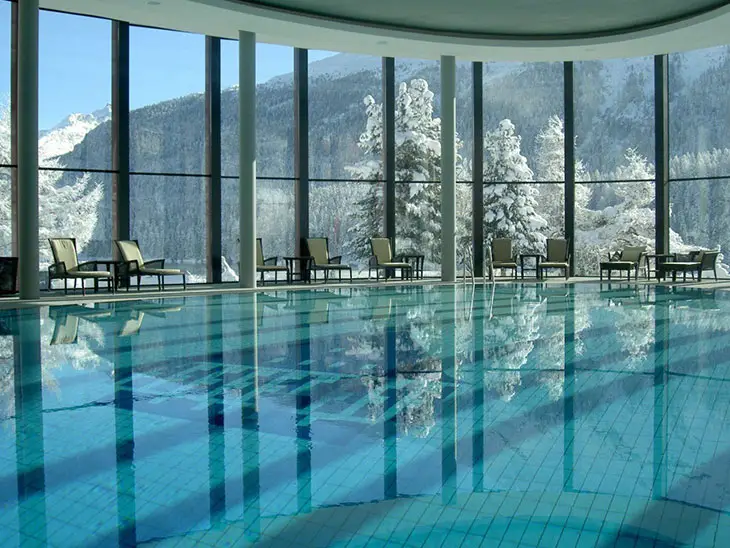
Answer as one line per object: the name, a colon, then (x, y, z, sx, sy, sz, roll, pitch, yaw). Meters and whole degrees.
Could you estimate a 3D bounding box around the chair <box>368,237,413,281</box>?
chair: (0.521, -0.423, 14.961, 0.725, 1.036, 0.828, -1, -4, -31)

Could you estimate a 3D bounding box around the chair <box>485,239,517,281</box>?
chair: (3.394, -0.360, 15.744, 0.620, 1.020, 0.790, 0, 4, 15)

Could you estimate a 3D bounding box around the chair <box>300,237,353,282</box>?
chair: (-0.926, -0.328, 14.746, 0.908, 1.149, 0.836, -5, -2, 36)

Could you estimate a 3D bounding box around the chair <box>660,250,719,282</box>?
chair: (7.366, -0.215, 14.835, 1.166, 0.826, 0.908, 2, -3, -32)

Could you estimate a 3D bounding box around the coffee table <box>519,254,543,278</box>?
coffee table: (4.429, -0.252, 17.155, 0.635, 0.895, 0.695, 0, 0, 20)

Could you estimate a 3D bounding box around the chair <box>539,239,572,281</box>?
chair: (4.795, -0.527, 16.409, 0.782, 1.322, 1.062, 5, 19, 23)

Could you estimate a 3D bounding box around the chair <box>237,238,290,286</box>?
chair: (-2.137, -0.268, 14.385, 0.689, 1.016, 0.611, -2, 5, -24)

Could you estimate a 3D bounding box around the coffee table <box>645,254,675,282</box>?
coffee table: (7.210, -0.185, 15.588, 0.642, 0.739, 0.696, 0, -2, -7)

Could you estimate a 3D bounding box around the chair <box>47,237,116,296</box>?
chair: (-5.345, -0.142, 11.876, 1.024, 1.020, 0.747, 4, 4, 30)

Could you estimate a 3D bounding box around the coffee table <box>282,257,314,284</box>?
coffee table: (-1.597, -0.106, 15.191, 0.580, 0.663, 0.627, 1, -2, -9)

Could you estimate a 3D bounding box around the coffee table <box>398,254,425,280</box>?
coffee table: (1.215, -0.207, 16.153, 0.602, 0.531, 0.612, 0, -1, -7)

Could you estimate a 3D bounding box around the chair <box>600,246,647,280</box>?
chair: (6.119, -0.320, 15.572, 0.830, 1.017, 1.134, -1, -3, 42)

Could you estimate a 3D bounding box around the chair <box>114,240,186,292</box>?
chair: (-4.431, -0.178, 13.342, 1.464, 1.136, 3.296, -3, 8, -20)
